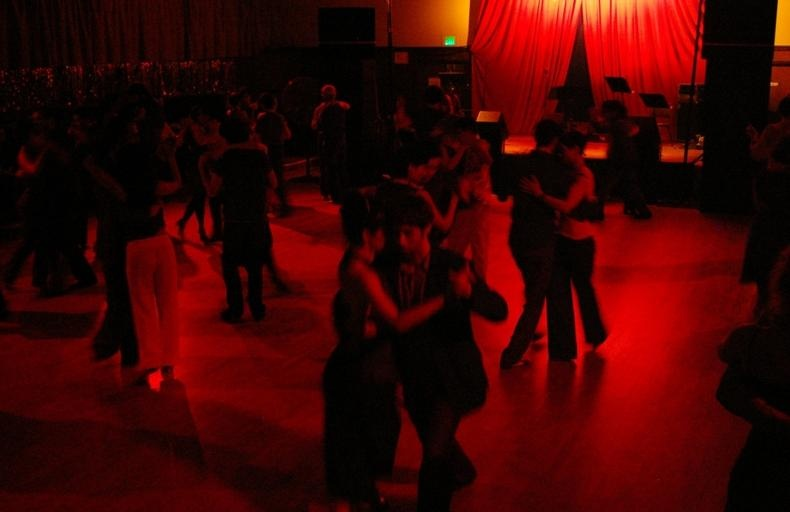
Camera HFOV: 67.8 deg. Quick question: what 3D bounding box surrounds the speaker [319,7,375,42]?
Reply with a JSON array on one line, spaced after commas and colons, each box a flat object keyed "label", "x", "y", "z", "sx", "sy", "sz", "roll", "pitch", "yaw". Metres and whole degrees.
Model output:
[{"label": "speaker", "x": -0.584, "y": -2.583, "z": 6.663, "sx": 0.569, "sy": 0.410, "sz": 0.120, "roll": -1, "pitch": 12, "yaw": 3}]
